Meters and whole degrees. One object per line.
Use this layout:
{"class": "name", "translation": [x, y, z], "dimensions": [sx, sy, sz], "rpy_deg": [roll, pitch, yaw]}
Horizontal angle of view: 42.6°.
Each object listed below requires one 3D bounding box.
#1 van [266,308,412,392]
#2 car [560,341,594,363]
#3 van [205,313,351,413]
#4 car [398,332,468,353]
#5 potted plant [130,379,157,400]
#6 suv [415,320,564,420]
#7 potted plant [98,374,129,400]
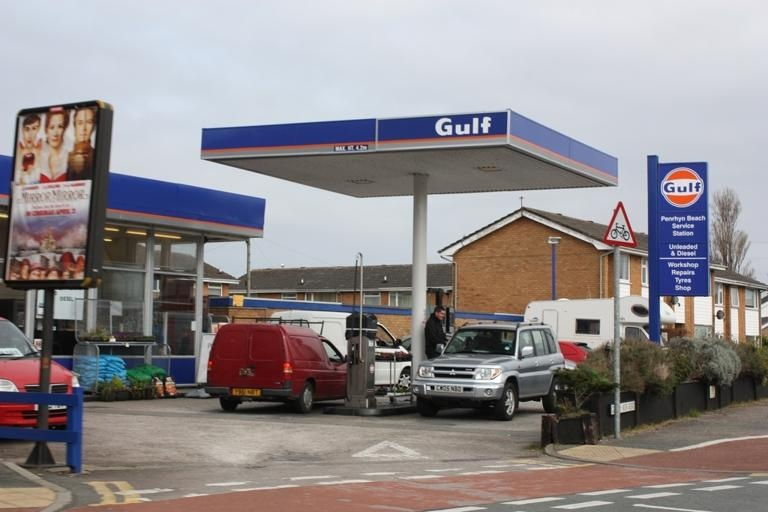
{"class": "van", "translation": [-0.814, 3.093, 32.902], "dimensions": [4.684, 2.488, 2.317], "rpy_deg": [3, -5, -41]}
{"class": "car", "translation": [6.187, 3.180, 32.282], "dimensions": [0.850, 0.681, 1.522], "rpy_deg": [0, -10, 8]}
{"class": "van", "translation": [-2.332, 2.772, 25.613], "dimensions": [1.994, 1.523, 3.503], "rpy_deg": [-1, -1, 24]}
{"class": "car", "translation": [1.540, 3.423, 38.098], "dimensions": [1.941, 0.951, 1.129], "rpy_deg": [2, -2, 12]}
{"class": "potted plant", "translation": [-6.806, 3.755, 27.864], "dimensions": [0.253, 0.621, 0.975], "rpy_deg": [-6, -12, 40]}
{"class": "suv", "translation": [2.673, 2.797, 24.567], "dimensions": [3.603, 2.557, 1.973], "rpy_deg": [9, -12, -39]}
{"class": "potted plant", "translation": [-7.443, 3.592, 27.039], "dimensions": [0.625, 0.495, 0.701], "rpy_deg": [-6, -7, 41]}
